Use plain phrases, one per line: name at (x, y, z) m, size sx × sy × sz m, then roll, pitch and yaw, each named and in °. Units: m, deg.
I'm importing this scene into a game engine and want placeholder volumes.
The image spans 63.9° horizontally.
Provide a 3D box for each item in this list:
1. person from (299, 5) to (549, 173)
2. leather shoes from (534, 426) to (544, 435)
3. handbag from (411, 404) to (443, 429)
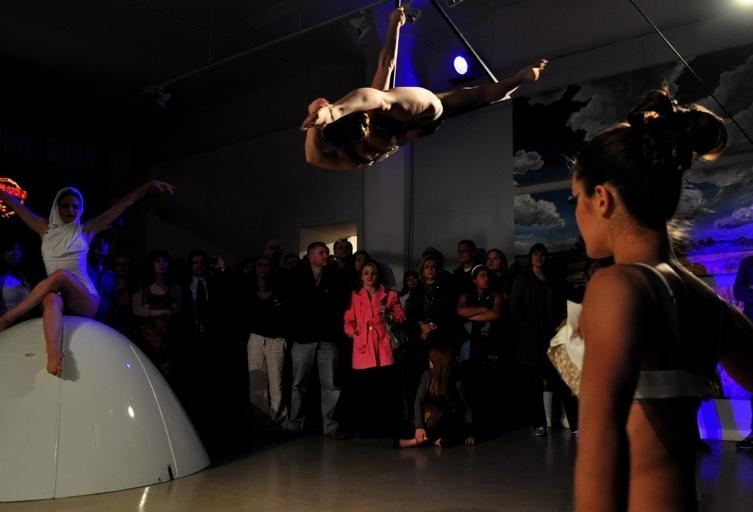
person at (0.212, -1.316, 4.413) m, size 1.666 × 1.299 × 0.908 m, roll 0°, pitch 0°, yaw -17°
leather shoes at (1.936, 2.058, 7.124) m, size 0.063 × 0.071 × 0.167 m, roll -5°, pitch -16°, yaw 10°
handbag at (0.568, 1.737, 6.588) m, size 0.300 × 0.261 × 0.162 m, roll 0°, pitch 0°, yaw -5°
